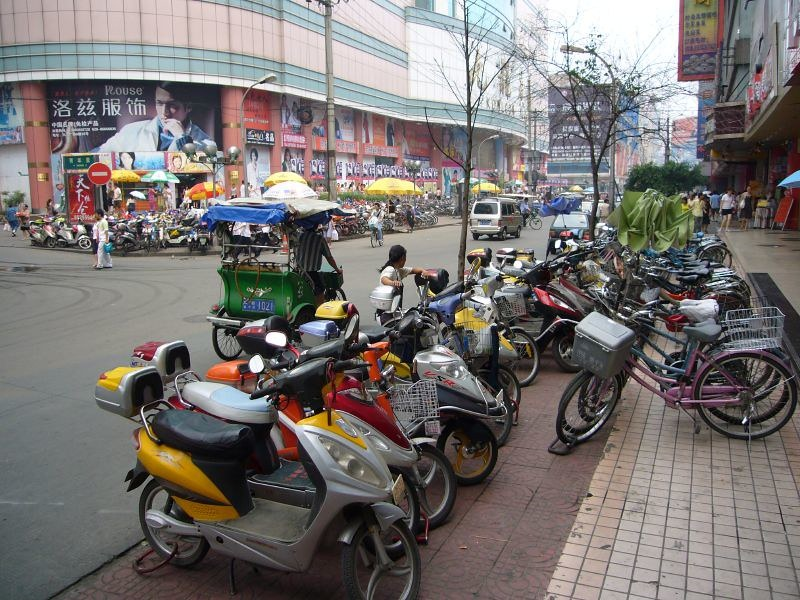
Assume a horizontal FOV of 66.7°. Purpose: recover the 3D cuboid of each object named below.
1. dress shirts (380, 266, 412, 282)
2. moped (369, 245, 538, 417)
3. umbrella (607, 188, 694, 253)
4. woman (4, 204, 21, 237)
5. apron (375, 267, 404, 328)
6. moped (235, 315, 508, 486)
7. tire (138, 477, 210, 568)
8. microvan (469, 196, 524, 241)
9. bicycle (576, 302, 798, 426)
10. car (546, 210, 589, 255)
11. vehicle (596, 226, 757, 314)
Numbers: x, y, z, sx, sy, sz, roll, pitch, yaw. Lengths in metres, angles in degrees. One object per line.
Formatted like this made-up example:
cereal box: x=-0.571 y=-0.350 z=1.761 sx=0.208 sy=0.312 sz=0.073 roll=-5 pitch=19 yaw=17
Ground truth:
dress shirts: x=-0.050 y=-0.332 z=8.273 sx=0.293 sy=0.080 sz=0.221 roll=-11 pitch=17 yaw=-40
moped: x=0.519 y=0.272 z=7.559 sx=2.589 sy=1.728 sz=1.410 roll=12 pitch=27 yaw=38
umbrella: x=3.703 y=-1.161 z=8.774 sx=1.277 sy=0.900 sz=0.712 roll=-13 pitch=17 yaw=-29
woman: x=-22.145 y=-4.597 z=34.823 sx=0.596 sy=1.394 sz=4.258 roll=-13 pitch=18 yaw=-31
apron: x=-0.213 y=-0.029 z=7.726 sx=0.286 sy=0.595 sz=0.415 roll=-7 pitch=35 yaw=-8
moped: x=-0.191 y=0.834 z=5.949 sx=2.413 sy=1.598 sz=1.365 roll=7 pitch=20 yaw=28
tire: x=-1.666 y=1.655 z=4.509 sx=0.622 sy=0.714 sz=0.194 roll=20 pitch=15 yaw=23
microvan: x=4.600 y=-4.131 z=29.668 sx=1.447 sy=1.534 sz=3.083 roll=6 pitch=18 yaw=29
bicycle: x=2.995 y=0.756 z=6.301 sx=2.103 sy=1.319 sz=0.760 roll=-3 pitch=15 yaw=3
car: x=6.661 y=-2.663 z=23.222 sx=1.742 sy=1.491 sz=3.116 roll=3 pitch=17 yaw=19
vehicle: x=4.418 y=-0.482 z=9.843 sx=2.005 sy=1.296 sz=1.451 roll=8 pitch=24 yaw=22
